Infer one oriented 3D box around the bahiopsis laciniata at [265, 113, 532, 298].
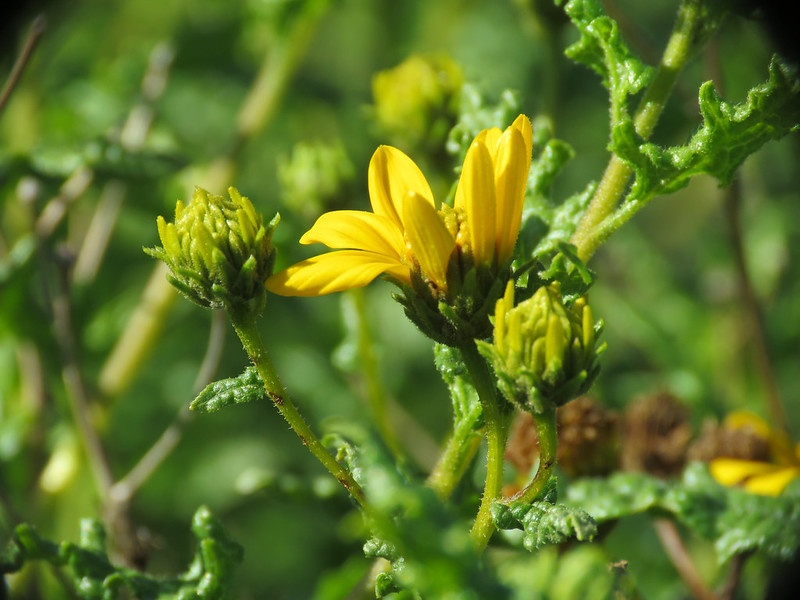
[{"bbox_3d":[0.077,-0.093,1.224,0.276,0.167,0.330,-13,2,8],"label":"bahiopsis laciniata"}]
